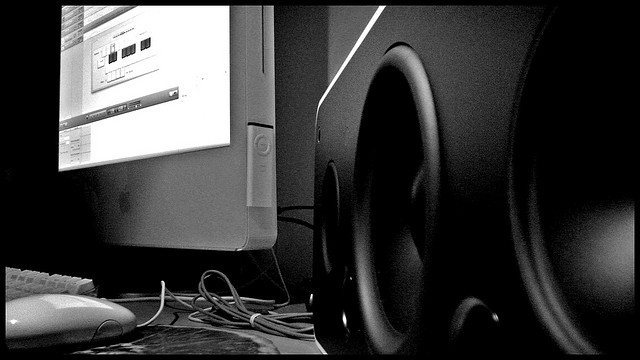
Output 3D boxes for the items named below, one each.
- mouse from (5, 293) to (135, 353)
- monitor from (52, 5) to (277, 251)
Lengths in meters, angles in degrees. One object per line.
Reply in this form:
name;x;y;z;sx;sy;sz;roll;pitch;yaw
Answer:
mouse;-0.250;0.133;0.445;0.083;0.020;0.057;0;1;-38
monitor;-0.223;-0.058;0.609;0.434;0.339;0.123;11;22;27
